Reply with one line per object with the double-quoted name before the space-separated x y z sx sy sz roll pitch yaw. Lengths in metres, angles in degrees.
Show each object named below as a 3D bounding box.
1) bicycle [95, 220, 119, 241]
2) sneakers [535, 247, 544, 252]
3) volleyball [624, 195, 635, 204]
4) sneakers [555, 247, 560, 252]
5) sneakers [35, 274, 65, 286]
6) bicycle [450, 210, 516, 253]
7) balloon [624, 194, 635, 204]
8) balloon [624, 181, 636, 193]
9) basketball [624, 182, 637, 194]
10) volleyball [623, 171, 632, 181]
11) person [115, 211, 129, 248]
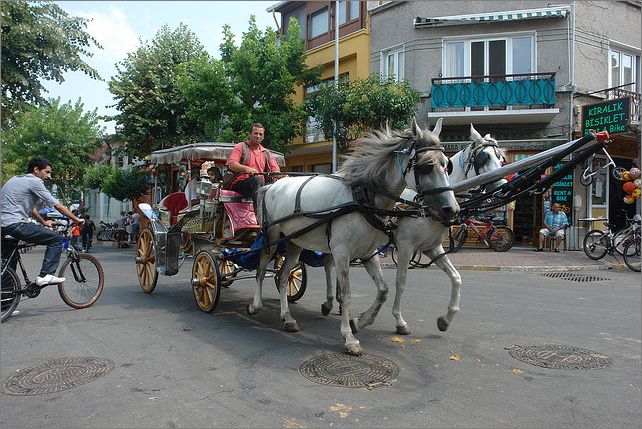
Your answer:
"bicycle" -13.097 0.982 32.027 1.302 1.120 1.875 3 1 -29
"sneakers" 7.913 1.270 18.969 0.120 0.126 0.339 1 1 -15
"volleyball" 11.240 -0.591 19.072 0.388 0.219 0.383 -8 -37 41
"sneakers" 8.527 1.315 18.933 0.146 0.194 0.102 1 34 0
"sneakers" -4.958 1.200 9.585 0.519 0.200 0.179 1 10 -29
"bicycle" 5.417 0.647 17.581 2.754 1.489 1.273 5 -8 -5
"balloon" 11.325 -0.604 19.221 0.381 0.218 0.372 -18 -53 38
"balloon" 10.680 -0.976 18.179 0.412 0.362 0.386 4 0 -13
"basketball" 10.816 -0.949 18.248 0.433 0.381 0.406 5 1 -15
"volleyball" 10.535 -1.366 18.000 0.313 0.321 0.287 5 16 0
"person" -9.611 0.692 25.254 0.460 1.714 1.368 0 1 -22
